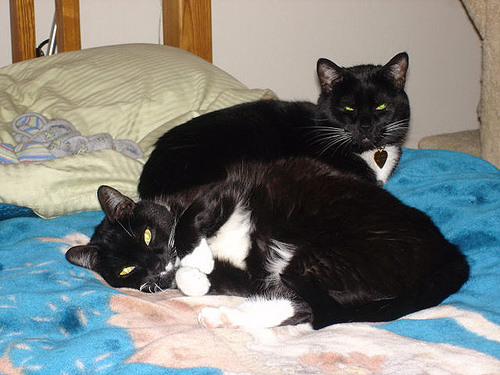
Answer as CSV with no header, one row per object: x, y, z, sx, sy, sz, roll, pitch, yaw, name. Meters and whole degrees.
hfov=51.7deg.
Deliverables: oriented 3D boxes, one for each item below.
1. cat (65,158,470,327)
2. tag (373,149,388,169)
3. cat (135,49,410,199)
0.065,0.109,1.649,0.994,0.309,0.567,2,7,1,cat
0.490,-0.109,1.953,0.072,0.092,0.010,5,-17,-19,tag
0.119,-0.158,2.027,1.292,0.677,0.373,3,15,28,cat
